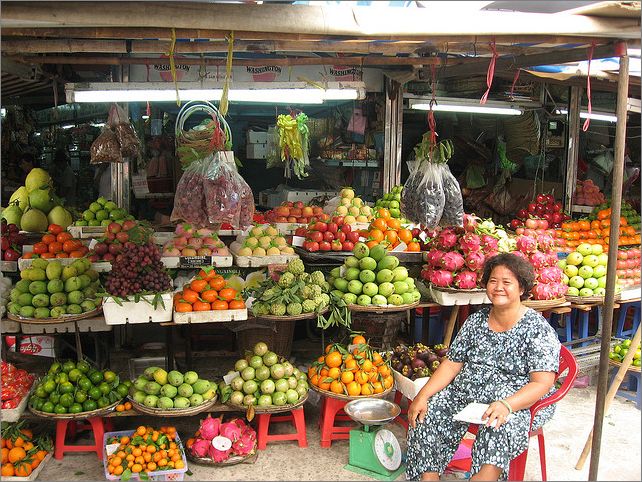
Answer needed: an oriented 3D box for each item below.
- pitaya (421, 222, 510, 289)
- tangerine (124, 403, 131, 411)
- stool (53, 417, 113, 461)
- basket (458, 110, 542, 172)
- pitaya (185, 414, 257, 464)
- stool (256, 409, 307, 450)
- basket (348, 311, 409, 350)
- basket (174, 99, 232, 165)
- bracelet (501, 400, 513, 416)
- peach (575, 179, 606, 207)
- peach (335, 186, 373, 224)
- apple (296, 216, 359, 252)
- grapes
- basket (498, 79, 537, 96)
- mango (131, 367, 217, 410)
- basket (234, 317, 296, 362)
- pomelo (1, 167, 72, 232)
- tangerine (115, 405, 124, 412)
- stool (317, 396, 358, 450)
[{"bbox_3d":[1.268,0.070,4.729,0.551,0.361,0.684,5,27,27],"label":"pitaya"},{"bbox_3d":[-1.433,1.226,3.968,0.045,0.044,0.045,11,51,-3],"label":"tangerine"},{"bbox_3d":[-1.809,1.486,4.106,0.390,0.355,0.384,0,-2,-3],"label":"stool"},{"bbox_3d":[2.649,-1.518,7.893,0.827,0.932,0.485,-7,22,4],"label":"basket"},{"bbox_3d":[-0.738,1.471,3.968,0.500,0.331,0.208,-7,12,-17],"label":"pitaya"},{"bbox_3d":[-0.313,1.423,4.278,0.378,0.331,0.379,-5,12,-5],"label":"stool"},{"bbox_3d":[0.499,0.749,4.746,0.388,0.229,0.381,0,-3,-4],"label":"basket"},{"bbox_3d":[-0.887,-0.816,4.084,0.420,0.499,0.519,-6,12,-11],"label":"basket"},{"bbox_3d":[1.119,1.004,3.209,0.077,0.105,0.073,1,13,22],"label":"bracelet"},{"bbox_3d":[3.646,-0.632,7.254,0.390,0.253,0.376,3,-2,-42],"label":"peach"},{"bbox_3d":[0.361,-0.403,5.738,0.326,0.202,0.425,2,20,-9],"label":"peach"},{"bbox_3d":[0.092,-0.058,5.106,0.372,0.162,0.444,3,10,12],"label":"apple"},{"bbox_3d":[-1.358,0.165,4.020,0.453,0.383,0.370,2,4,-18],"label":"grapes"},{"bbox_3d":[2.725,-2.098,7.336,0.236,0.231,0.915,7,16,42],"label":"basket"},{"bbox_3d":[-1.120,1.091,3.975,0.652,0.268,0.278,-4,12,-2],"label":"mango"},{"bbox_3d":[-0.481,0.824,4.877,0.471,0.377,0.510,2,3,26],"label":"basket"},{"bbox_3d":[-2.741,-0.302,5.101,0.491,0.459,0.809,-25,32,-18],"label":"pomelo"},{"bbox_3d":[-1.476,1.234,3.941,0.050,0.049,0.049,-5,-28,-12],"label":"tangerine"},{"bbox_3d":[0.077,1.418,4.306,0.366,0.388,0.418,2,2,-9],"label":"stool"}]
